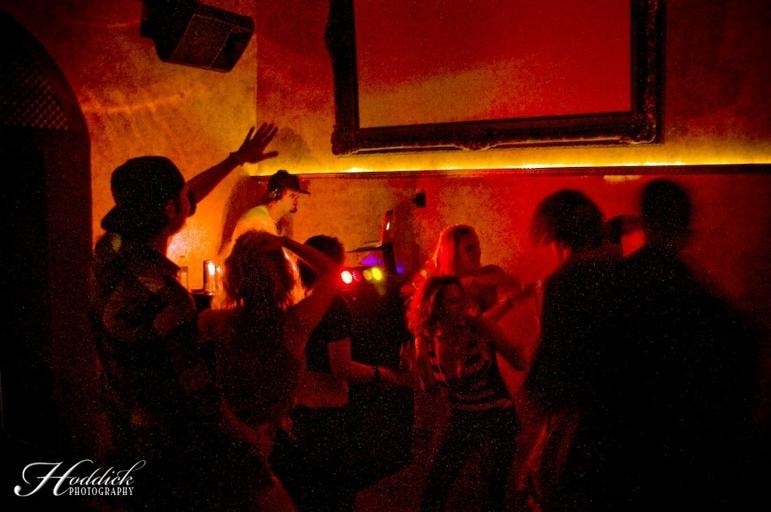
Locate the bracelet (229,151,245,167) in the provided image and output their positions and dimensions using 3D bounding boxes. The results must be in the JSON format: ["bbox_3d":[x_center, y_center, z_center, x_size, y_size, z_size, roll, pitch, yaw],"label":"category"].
[{"bbox_3d":[-0.579,-0.374,2.674,0.068,0.070,0.049,-10,13,-30],"label":"bracelet"}]

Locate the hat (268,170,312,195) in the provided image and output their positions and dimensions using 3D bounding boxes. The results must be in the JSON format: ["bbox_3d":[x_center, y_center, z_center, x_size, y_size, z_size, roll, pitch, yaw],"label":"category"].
[{"bbox_3d":[-0.368,-0.276,2.598,0.129,0.070,0.088,7,6,-2],"label":"hat"}]
